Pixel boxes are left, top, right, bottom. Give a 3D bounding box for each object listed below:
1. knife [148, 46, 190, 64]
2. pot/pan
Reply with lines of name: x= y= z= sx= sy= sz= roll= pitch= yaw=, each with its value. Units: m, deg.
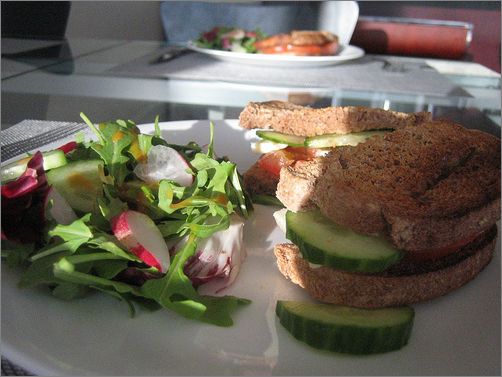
knife: x=-0.512 y=-0.867 z=3.094 sx=0.087 sy=0.040 sz=0.387 roll=14 pitch=24 yaw=19
pot/pan: x=1.463 y=-1.358 z=4.305 sx=0.848 sy=0.200 sz=0.895 roll=9 pitch=27 yaw=20
